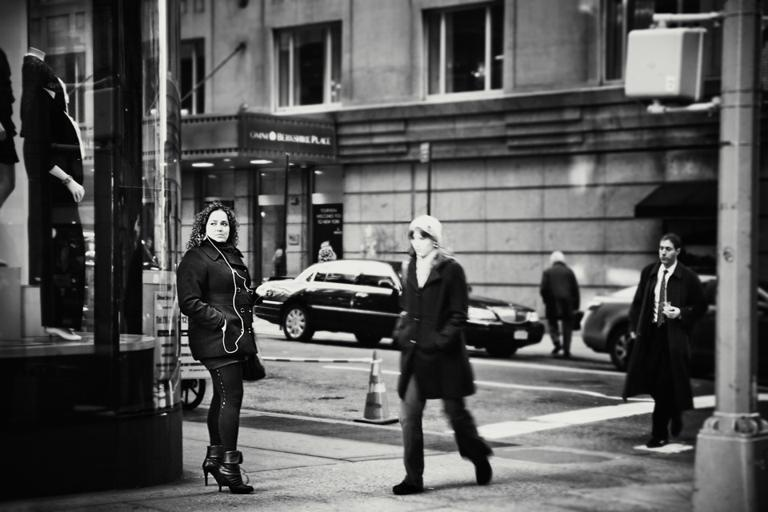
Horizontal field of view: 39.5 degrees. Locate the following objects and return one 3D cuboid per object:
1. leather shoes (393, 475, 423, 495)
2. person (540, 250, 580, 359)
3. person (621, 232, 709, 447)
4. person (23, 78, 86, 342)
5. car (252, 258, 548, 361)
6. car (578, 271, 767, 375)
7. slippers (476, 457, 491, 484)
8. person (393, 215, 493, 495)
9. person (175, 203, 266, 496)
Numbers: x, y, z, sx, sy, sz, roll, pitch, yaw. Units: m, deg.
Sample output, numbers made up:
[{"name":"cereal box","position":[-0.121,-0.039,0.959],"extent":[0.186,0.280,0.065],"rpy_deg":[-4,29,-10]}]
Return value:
[{"name":"leather shoes","position":[0.232,2.163,10.099],"extent":[0.269,0.109,0.135],"rpy_deg":[3,-4,-14]},{"name":"person","position":[3.488,0.957,21.277],"extent":[0.744,1.969,1.474],"rpy_deg":[-1,1,8]},{"name":"person","position":[3.191,0.991,12.138],"extent":[0.887,2.388,0.511],"rpy_deg":[0,2,16]},{"name":"person","position":[-2.938,-0.405,9.784],"extent":[0.402,2.360,0.177],"rpy_deg":[-1,2,-17]},{"name":"car","position":[0.207,1.028,21.406],"extent":[5.259,1.442,2.150],"rpy_deg":[0,-1,34]},{"name":"car","position":[4.622,1.314,17.468],"extent":[2.754,0.964,1.225],"rpy_deg":[-2,-3,22]},{"name":"slippers","position":[0.971,2.076,10.376],"extent":[0.148,0.244,0.115],"rpy_deg":[-1,-4,0]},{"name":"person","position":[0.527,0.924,10.276],"extent":[0.892,2.572,0.615],"rpy_deg":[-1,1,2]},{"name":"person","position":[-1.539,0.851,10.153],"extent":[0.816,2.663,0.671],"rpy_deg":[-1,1,-9]}]
